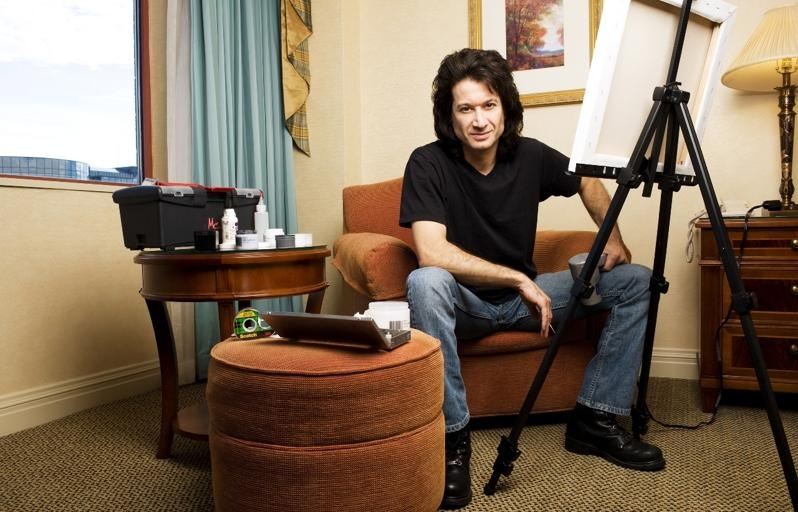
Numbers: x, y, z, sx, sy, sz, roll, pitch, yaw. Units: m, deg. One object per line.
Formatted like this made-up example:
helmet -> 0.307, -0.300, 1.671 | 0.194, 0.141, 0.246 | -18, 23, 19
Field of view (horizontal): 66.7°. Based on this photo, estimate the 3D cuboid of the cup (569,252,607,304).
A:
cup -> 0.767, 0.107, 2.511 | 0.117, 0.175, 0.111 | 4, 13, -1

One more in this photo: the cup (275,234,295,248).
cup -> -0.498, -0.067, 2.632 | 0.066, 0.040, 0.064 | 0, 4, 0

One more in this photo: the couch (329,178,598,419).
couch -> 0.357, 0.104, 3.177 | 1.340, 1.165, 1.068 | 2, -8, -40

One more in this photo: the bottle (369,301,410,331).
bottle -> -0.035, 0.215, 2.179 | 0.106, 0.087, 0.103 | 0, 0, -5

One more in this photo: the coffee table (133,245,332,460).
coffee table -> -0.740, 0.454, 2.819 | 0.876, 0.902, 0.830 | -3, -3, 5
